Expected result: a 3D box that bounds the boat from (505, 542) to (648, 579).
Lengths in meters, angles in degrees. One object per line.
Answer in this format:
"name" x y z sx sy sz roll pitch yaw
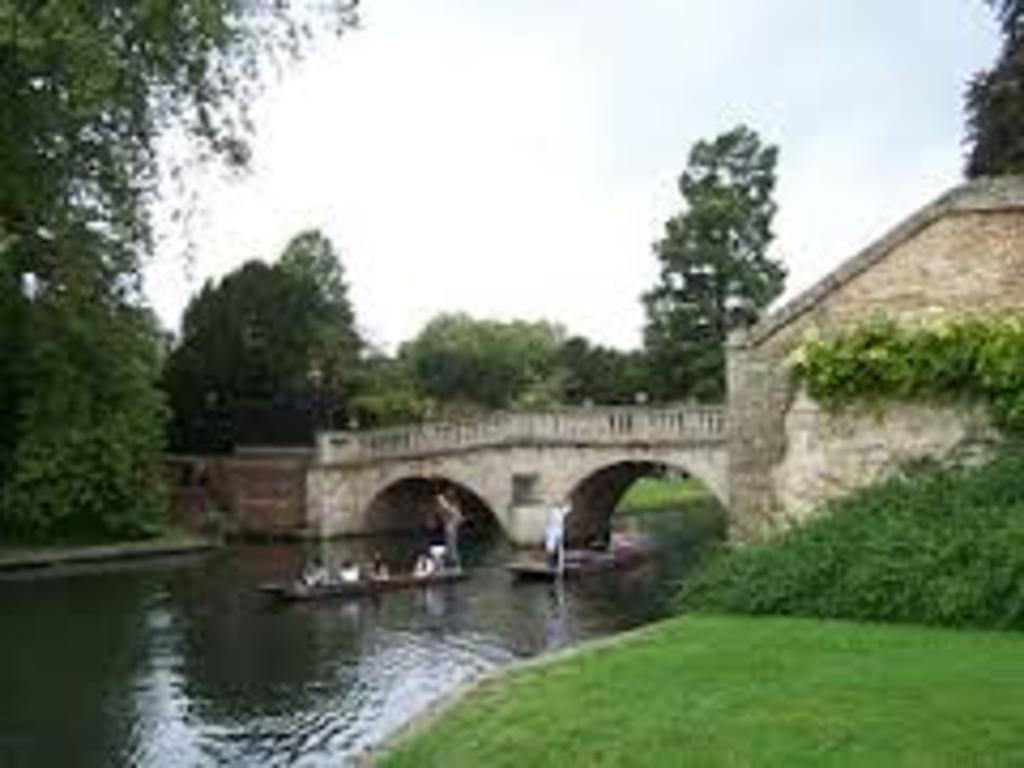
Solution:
"boat" 2.160 4.882 24.822 1.265 0.439 3.992 -1 -4 36
